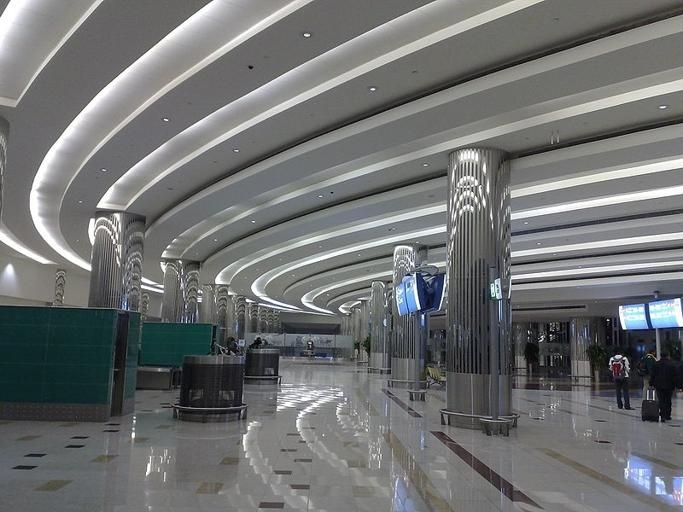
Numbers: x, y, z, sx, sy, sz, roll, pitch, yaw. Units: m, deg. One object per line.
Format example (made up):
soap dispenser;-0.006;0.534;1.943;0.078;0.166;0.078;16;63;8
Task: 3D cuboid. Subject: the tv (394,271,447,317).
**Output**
tv;2.170;1.018;12.517;0.667;0.974;1.912;-1;-5;-8

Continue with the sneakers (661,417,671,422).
sneakers;8.551;4.296;11.720;0.634;0.069;0.188;10;-16;-41
